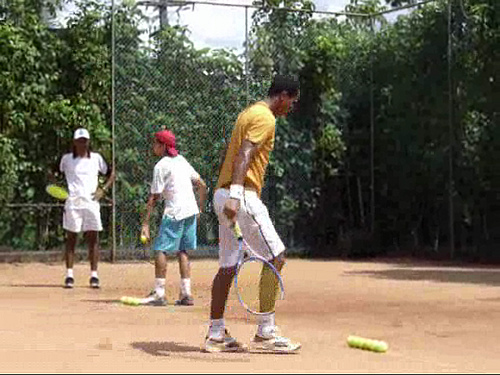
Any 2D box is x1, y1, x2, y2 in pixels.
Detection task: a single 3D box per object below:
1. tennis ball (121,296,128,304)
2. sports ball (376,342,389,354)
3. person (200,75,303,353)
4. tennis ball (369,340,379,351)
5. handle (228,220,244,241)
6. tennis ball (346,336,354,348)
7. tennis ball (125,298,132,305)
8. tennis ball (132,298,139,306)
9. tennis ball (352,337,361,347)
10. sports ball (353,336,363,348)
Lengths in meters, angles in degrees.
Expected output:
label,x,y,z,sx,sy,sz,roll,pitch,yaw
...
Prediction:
label,x,y,z,sx,sy,sz,roll,pitch,yaw
tennis ball,-1.588,1.425,9.294,0.068,0.033,0.061,-26,-5,-13
sports ball,1.312,1.575,7.214,0.129,0.092,0.073,3,-4,-34
person,-0.004,0.254,7.387,0.945,2.742,1.043,0,-3,-1
tennis ball,1.221,1.554,7.255,0.075,0.103,0.080,-2,8,0
handle,-0.133,0.412,6.994,0.151,0.196,0.183,0,-3,-2
tennis ball,1.016,1.552,7.427,0.065,0.090,0.070,2,8,0
tennis ball,-1.526,1.434,9.232,0.060,0.040,0.068,-16,-25,-1
tennis ball,-1.440,1.446,9.252,0.080,0.077,0.155,1,-4,-11
tennis ball,1.070,1.545,7.368,0.068,0.077,0.086,0,37,14
sports ball,1.090,1.559,7.408,0.072,0.096,0.080,2,-39,4
